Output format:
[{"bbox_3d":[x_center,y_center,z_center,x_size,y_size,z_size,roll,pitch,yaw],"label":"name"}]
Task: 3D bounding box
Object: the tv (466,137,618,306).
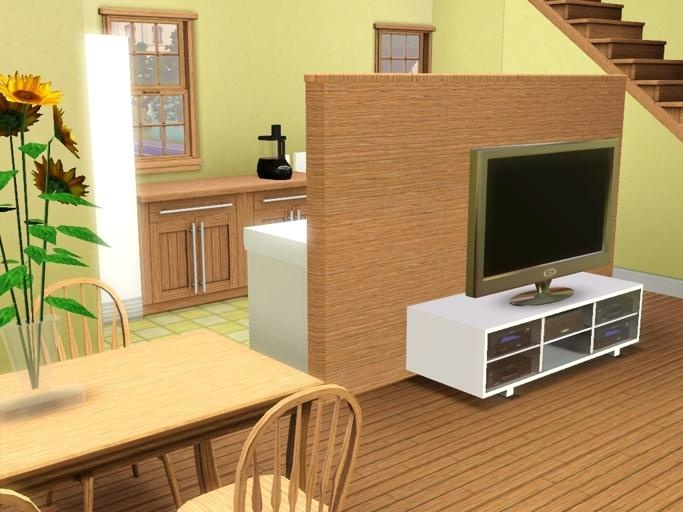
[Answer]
[{"bbox_3d":[1.233,-0.221,3.366,1.394,0.785,0.255,-9,12,-35],"label":"tv"}]
